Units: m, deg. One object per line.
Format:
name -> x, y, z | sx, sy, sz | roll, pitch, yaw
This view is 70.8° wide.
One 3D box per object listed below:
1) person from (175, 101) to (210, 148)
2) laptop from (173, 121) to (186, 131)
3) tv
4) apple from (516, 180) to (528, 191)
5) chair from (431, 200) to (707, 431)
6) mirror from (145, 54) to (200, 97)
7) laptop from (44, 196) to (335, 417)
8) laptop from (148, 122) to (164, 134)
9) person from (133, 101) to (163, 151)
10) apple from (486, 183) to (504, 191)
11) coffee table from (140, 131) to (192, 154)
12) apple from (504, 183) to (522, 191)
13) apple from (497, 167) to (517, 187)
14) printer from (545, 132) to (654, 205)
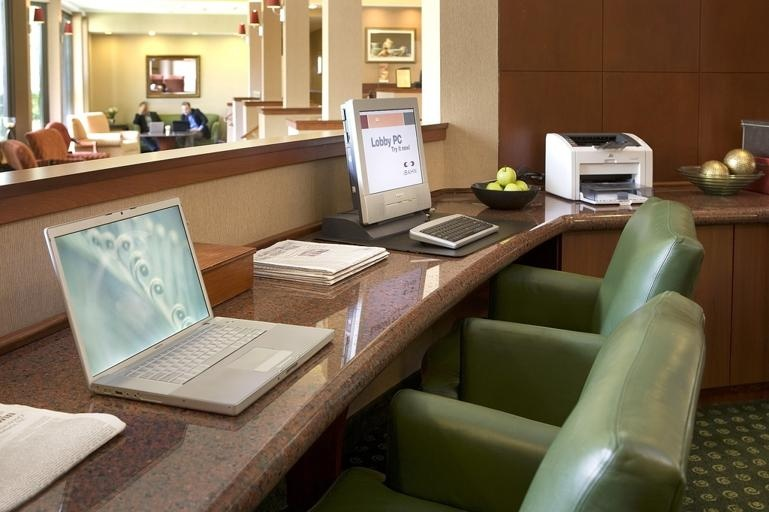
person -> -5.125, -3.408, 14.299 | 0.675, 1.352, 0.930 | 2, 15, 25
laptop -> -4.779, -3.041, 12.496 | 0.312, 0.226, 0.229 | 1, 34, -7
tv -> -0.038, -0.363, 2.356 | 0.351, 0.659, 0.622 | -2, 11, 34
apple -> 0.698, -0.366, 2.771 | 0.058, 0.061, 0.069 | 12, 3, -16
chair -> 0.590, 0.268, 1.963 | 0.858, 0.891, 0.652 | 7, 15, 24
mirror -> -6.552, -5.651, 16.517 | 1.176, 0.965, 0.051 | -1, 12, -1
laptop -> -0.410, 0.111, 1.193 | 0.472, 0.368, 0.513 | 6, 10, 16
laptop -> -5.261, -2.919, 12.334 | 0.424, 0.296, 0.306 | 1, 8, -2
person -> -6.032, -3.332, 13.799 | 0.560, 1.252, 0.699 | -13, 12, 7
apple -> 0.566, -0.366, 2.803 | 0.057, 0.038, 0.069 | -4, 26, -17
coffee table -> -5.295, -2.823, 13.036 | 1.191, 0.538, 2.259 | -11, 20, -22
apple -> 0.652, -0.355, 2.741 | 0.062, 0.052, 0.052 | 3, 59, -19
apple -> 0.654, -0.427, 2.866 | 0.106, 0.110, 0.105 | -15, 17, -25
printer -> 1.159, -0.491, 2.936 | 0.370, 0.283, 0.543 | -1, 12, -8
